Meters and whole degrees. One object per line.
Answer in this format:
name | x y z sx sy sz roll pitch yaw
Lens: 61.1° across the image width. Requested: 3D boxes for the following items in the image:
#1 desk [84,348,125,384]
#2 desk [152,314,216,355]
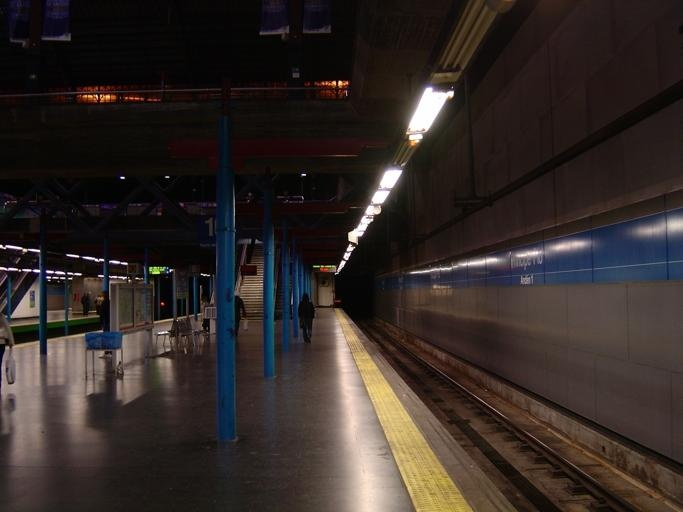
desk | -5.605 2.626 13.645 0.566 0.598 0.462 -1 -10 -2
desk | -5.264 2.594 19.099 1.678 1.246 5.188 2 -2 -14
